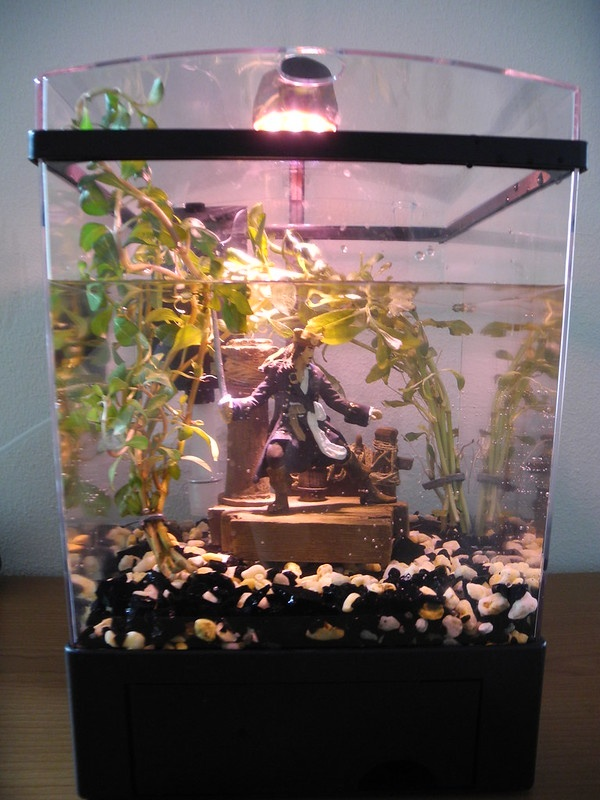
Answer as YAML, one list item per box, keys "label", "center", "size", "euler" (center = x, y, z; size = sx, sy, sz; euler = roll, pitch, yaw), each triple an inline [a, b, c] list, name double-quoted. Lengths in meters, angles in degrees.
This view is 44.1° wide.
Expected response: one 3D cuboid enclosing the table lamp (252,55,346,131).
- label: "table lamp"
  center: [-0.008, -0.497, 1.208]
  size: [0.166, 0.134, 0.097]
  euler: [2, -36, -3]
